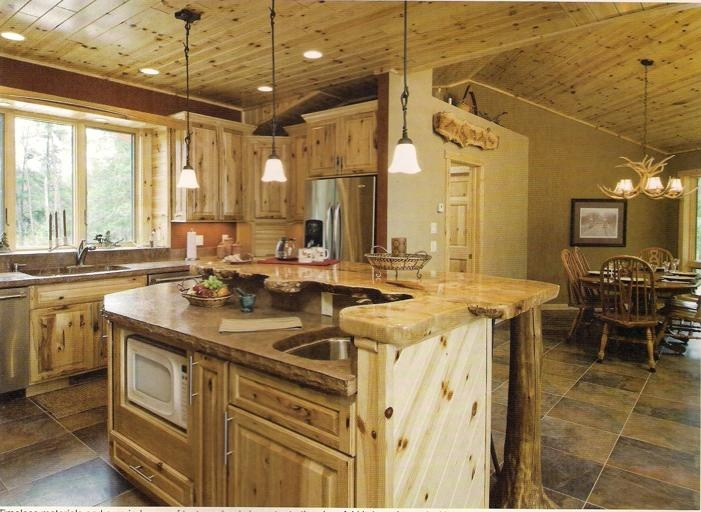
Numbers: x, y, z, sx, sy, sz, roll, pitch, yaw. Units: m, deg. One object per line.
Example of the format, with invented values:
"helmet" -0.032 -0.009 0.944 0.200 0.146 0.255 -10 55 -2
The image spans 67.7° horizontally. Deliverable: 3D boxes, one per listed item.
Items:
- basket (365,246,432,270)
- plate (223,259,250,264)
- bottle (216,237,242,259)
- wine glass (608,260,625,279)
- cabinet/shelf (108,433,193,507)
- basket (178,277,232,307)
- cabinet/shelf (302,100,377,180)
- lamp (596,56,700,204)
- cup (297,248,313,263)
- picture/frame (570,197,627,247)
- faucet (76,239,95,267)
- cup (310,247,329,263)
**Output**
"basket" 0.399 0.034 3.862 0.368 0.078 0.300 3 5 28
"plate" -0.944 0.050 4.422 0.206 0.028 0.194 -1 4 -13
"bottle" -1.491 -0.092 6.354 0.203 0.244 0.382 0 1 41
"wine glass" 2.916 0.146 5.772 0.169 0.246 0.364 3 5 25
"cabinet/shelf" -1.279 1.496 3.735 0.760 0.172 0.496 8 -5 36
"basket" -1.135 0.268 4.075 0.390 0.227 0.300 -1 5 -13
"cabinet/shelf" 0.048 -1.281 5.997 0.535 0.757 1.403 -7 10 -37
"lamp" 4.583 -1.633 7.851 1.528 1.617 3.633 2 4 23
"cup" -0.380 -0.010 4.412 0.159 0.111 0.133 0 -2 1
"picture/frame" 4.091 -0.551 8.688 0.057 0.805 1.073 -5 6 -29
"faucet" -2.876 -0.036 5.708 0.184 0.270 0.423 -1 4 -15
"cup" -0.275 -0.014 4.477 0.148 0.123 0.234 0 4 -4
